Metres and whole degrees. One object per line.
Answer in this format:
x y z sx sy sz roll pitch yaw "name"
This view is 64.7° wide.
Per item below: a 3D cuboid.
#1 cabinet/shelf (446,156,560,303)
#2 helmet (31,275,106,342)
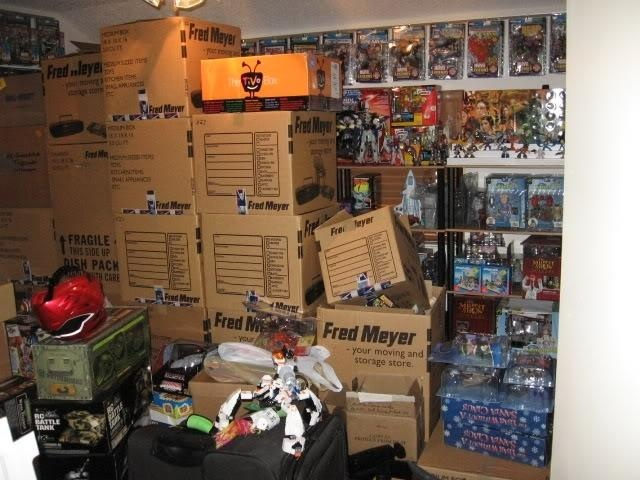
1.289 -0.076 3.549 0.908 0.832 0.302 4 12 25 "cabinet/shelf"
-1.152 0.290 2.315 0.283 0.266 0.228 -6 8 -32 "helmet"
